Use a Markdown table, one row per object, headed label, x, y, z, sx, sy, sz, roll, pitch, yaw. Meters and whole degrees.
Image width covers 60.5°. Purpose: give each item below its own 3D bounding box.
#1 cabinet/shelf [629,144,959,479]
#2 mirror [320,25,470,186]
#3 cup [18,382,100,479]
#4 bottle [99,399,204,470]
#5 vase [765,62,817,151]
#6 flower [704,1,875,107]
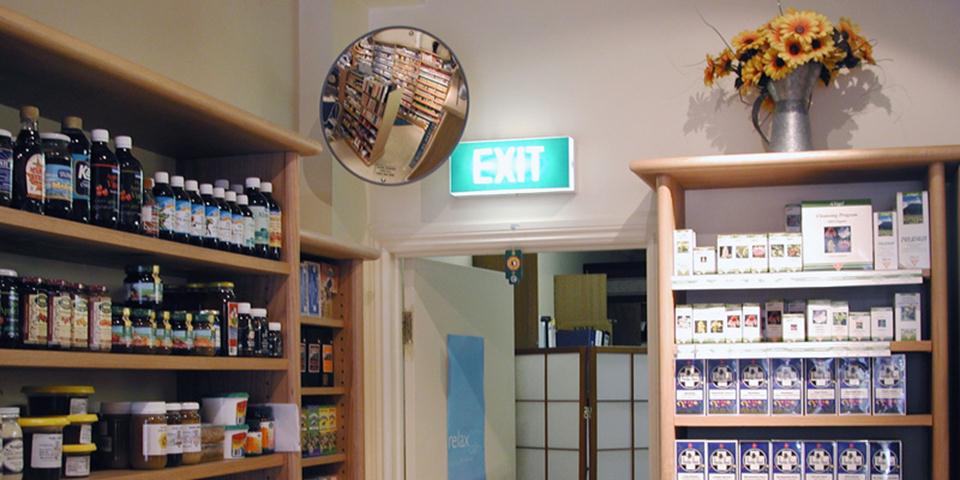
| label | x | y | z | sx | sy | sz | roll | pitch | yaw |
| --- | --- | --- | --- | --- | --- | --- | --- | --- | --- |
| cabinet/shelf | 2.107 | 0.460 | 5.270 | 2.454 | 2.051 | 0.995 | -2 | -12 | 11 |
| mirror | -0.609 | -0.911 | 5.809 | 1.225 | 1.194 | 0.055 | 9 | 8 | -9 |
| cup | -2.187 | 0.915 | 4.211 | 0.333 | 0.252 | 0.313 | 1 | -4 | 0 |
| bottle | -1.757 | 1.042 | 4.391 | 0.528 | 0.351 | 0.198 | 1 | -12 | -18 |
| vase | 2.068 | -0.839 | 5.396 | 0.360 | 0.604 | 0.238 | -7 | -13 | 20 |
| flower | 2.118 | -1.145 | 5.541 | 0.926 | 0.292 | 0.663 | -13 | -7 | 13 |
